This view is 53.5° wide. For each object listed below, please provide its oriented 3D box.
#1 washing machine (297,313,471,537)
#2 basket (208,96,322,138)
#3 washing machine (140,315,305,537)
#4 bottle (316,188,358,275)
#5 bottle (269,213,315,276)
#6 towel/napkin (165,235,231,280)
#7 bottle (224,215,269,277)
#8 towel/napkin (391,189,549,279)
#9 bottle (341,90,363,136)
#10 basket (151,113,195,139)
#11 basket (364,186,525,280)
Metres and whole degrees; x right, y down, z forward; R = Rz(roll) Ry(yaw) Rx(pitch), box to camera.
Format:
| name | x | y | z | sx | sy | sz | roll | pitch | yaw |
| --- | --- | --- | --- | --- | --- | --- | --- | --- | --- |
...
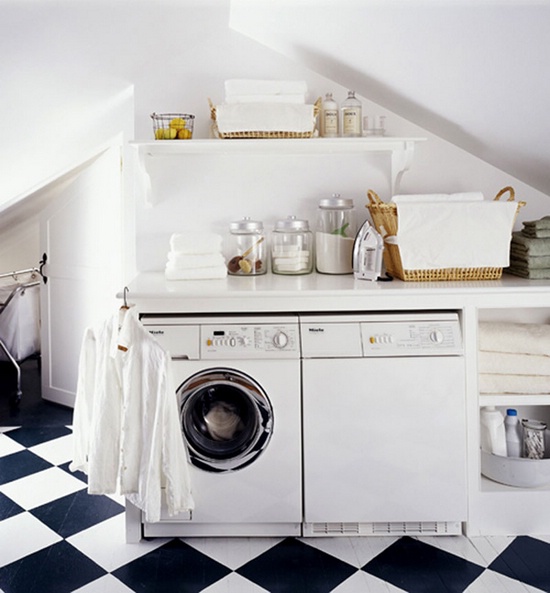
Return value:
| name | x | y | z | sx | sy | sz | roll | pitch | yaw |
| --- | --- | --- | --- | --- | --- | --- | --- | --- | --- |
| washing machine | 0.418 | 0.431 | 2.189 | 0.662 | 0.830 | 0.673 | 0 | 7 | 27 |
| basket | -0.033 | -0.708 | 2.192 | 0.404 | 0.137 | 0.066 | 0 | 10 | 1 |
| washing machine | -0.178 | 0.448 | 2.152 | 0.564 | 0.790 | 0.494 | 0 | 5 | 3 |
| bottle | 0.264 | -0.281 | 2.382 | 0.183 | 0.347 | 0.185 | 0 | 18 | 0 |
| bottle | 0.077 | -0.229 | 2.389 | 0.183 | 0.266 | 0.189 | -2 | 15 | 1 |
| towel/napkin | -0.307 | -0.157 | 2.149 | 0.187 | 0.132 | 0.189 | -2 | 7 | -9 |
| bottle | -0.157 | -0.217 | 2.314 | 0.223 | 0.321 | 0.226 | -1 | 2 | 0 |
| towel/napkin | 0.698 | -0.210 | 2.095 | 0.449 | 0.334 | 0.337 | -1 | -1 | 2 |
| bottle | 0.329 | -0.765 | 2.296 | 0.088 | 0.198 | 0.206 | 1 | 10 | 9 |
| basket | -0.424 | -0.702 | 2.302 | 0.180 | 0.094 | 0.167 | 3 | 13 | 7 |
| basket | 0.690 | -0.267 | 2.250 | 0.601 | 0.365 | 0.483 | -2 | 8 | -12 |
